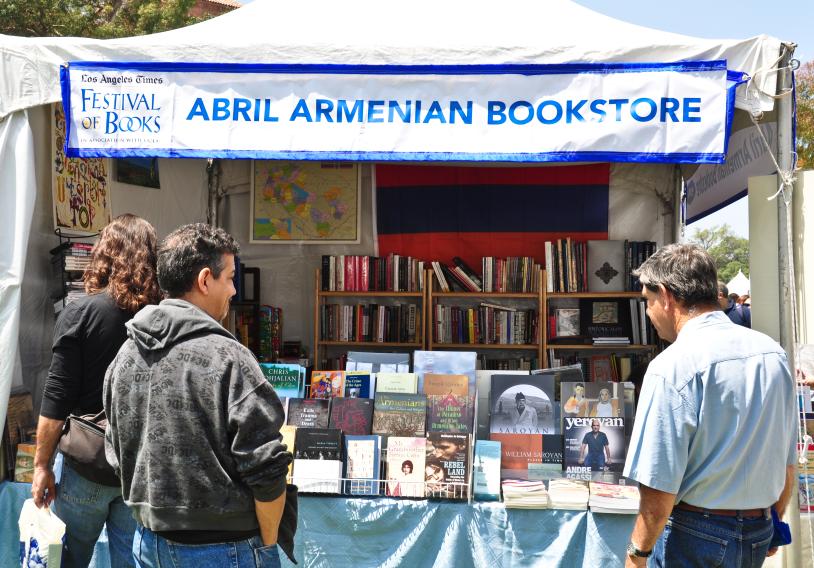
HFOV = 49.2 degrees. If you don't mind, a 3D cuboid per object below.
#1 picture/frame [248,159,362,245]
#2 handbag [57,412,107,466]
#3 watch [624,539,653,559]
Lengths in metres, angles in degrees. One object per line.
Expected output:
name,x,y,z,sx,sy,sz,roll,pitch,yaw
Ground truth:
picture/frame,-0.910,-0.800,8.405,0.745,0.767,0.033,0,6,4
handbag,-1.745,0.837,4.829,0.297,0.339,0.184,2,-11,-2
watch,1.133,1.298,4.342,0.099,0.068,0.110,7,-17,3
